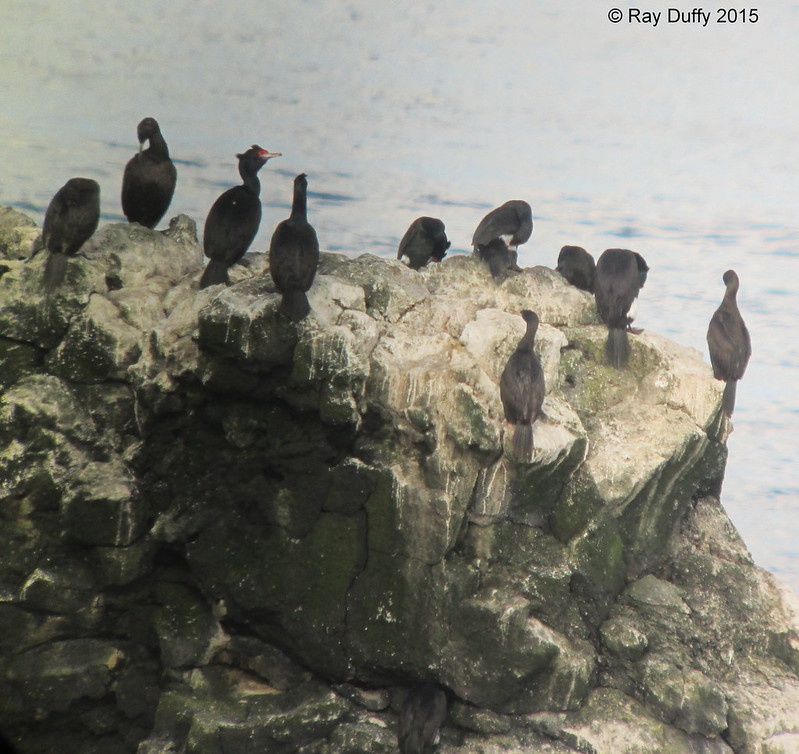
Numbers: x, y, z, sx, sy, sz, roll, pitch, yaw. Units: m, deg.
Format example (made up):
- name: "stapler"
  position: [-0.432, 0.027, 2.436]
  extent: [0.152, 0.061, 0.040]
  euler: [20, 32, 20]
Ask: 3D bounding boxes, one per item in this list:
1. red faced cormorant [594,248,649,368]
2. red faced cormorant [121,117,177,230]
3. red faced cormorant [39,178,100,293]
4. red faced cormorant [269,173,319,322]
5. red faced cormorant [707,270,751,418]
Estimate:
- name: "red faced cormorant"
  position: [1.654, -0.487, 15.440]
  extent: [0.270, 0.948, 0.388]
  euler: [-5, -26, 35]
- name: "red faced cormorant"
  position: [-1.952, -1.585, 16.008]
  extent: [0.388, 0.827, 0.410]
  euler: [7, 24, -7]
- name: "red faced cormorant"
  position: [-2.455, -1.104, 15.347]
  extent: [0.504, 0.759, 0.451]
  euler: [-5, 28, -31]
- name: "red faced cormorant"
  position: [-0.756, -0.959, 14.927]
  extent: [0.366, 0.875, 0.718]
  euler: [9, 24, -3]
- name: "red faced cormorant"
  position: [2.390, -0.135, 14.955]
  extent: [0.319, 0.708, 1.126]
  euler: [0, 63, 8]
